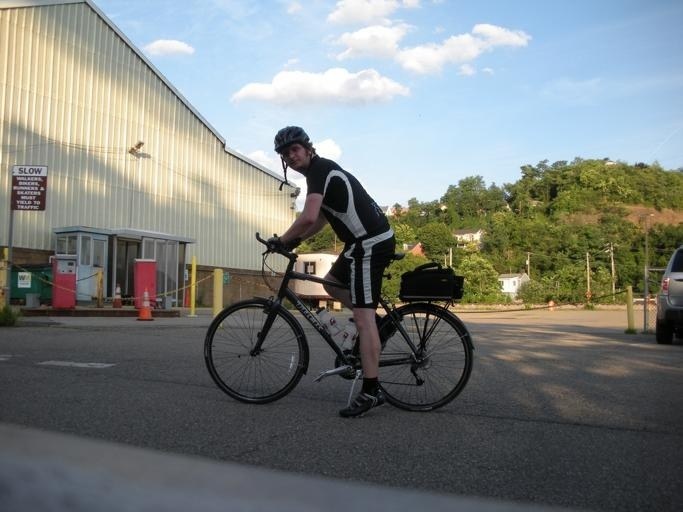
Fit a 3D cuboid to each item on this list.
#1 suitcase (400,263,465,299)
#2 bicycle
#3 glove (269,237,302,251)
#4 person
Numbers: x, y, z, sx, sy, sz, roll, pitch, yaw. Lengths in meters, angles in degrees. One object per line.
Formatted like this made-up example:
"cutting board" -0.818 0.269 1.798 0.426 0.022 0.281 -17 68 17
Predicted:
"suitcase" 0.741 0.230 4.397 0.340 0.252 0.360 -1 -3 18
"bicycle" -0.090 0.609 5.037 2.425 1.645 1.141 4 -1 3
"glove" -0.479 -0.098 4.431 0.183 0.087 0.137 12 5 21
"person" 0.003 0.212 4.231 0.823 1.971 0.549 2 -4 5
